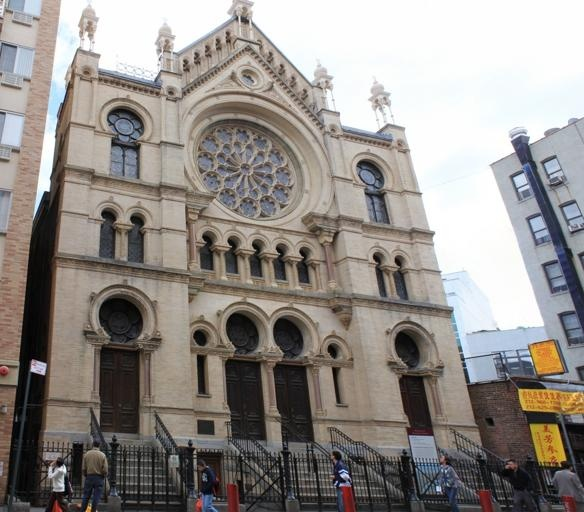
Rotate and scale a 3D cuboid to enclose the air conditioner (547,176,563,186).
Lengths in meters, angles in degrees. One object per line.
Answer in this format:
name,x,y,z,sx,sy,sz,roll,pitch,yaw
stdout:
air conditioner,20.288,-5.805,40.206,0.451,0.728,1.172,6,-24,-26
